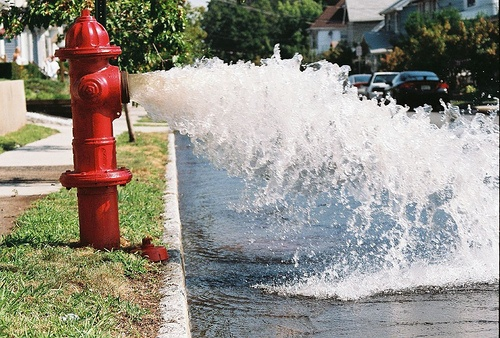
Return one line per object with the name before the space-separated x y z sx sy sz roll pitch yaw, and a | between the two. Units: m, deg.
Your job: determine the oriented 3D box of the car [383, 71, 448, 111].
car | 5.411 -2.564 31.616 1.024 1.040 2.110 -9 11 -39
